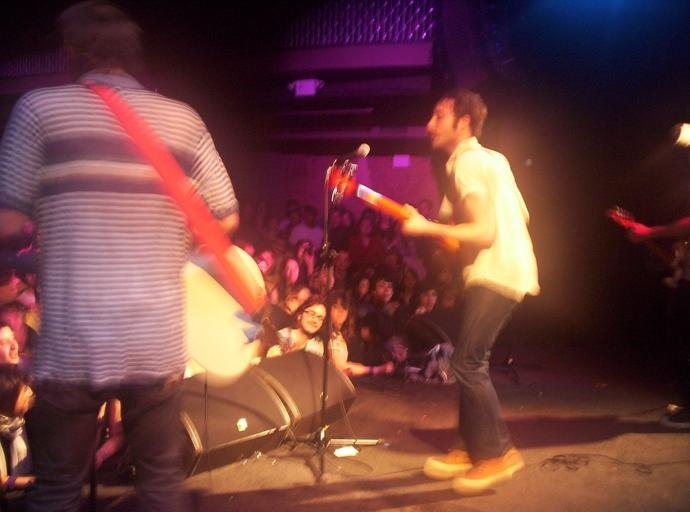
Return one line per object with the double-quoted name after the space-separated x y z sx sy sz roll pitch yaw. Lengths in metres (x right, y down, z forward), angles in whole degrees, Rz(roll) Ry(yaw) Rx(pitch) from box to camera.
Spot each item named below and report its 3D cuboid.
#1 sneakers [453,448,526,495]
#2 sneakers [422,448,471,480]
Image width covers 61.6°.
0.828 1.248 3.409 0.446 0.186 0.185 -20 0 -20 "sneakers"
0.604 1.261 3.505 0.273 0.116 0.150 -5 -3 -12 "sneakers"
